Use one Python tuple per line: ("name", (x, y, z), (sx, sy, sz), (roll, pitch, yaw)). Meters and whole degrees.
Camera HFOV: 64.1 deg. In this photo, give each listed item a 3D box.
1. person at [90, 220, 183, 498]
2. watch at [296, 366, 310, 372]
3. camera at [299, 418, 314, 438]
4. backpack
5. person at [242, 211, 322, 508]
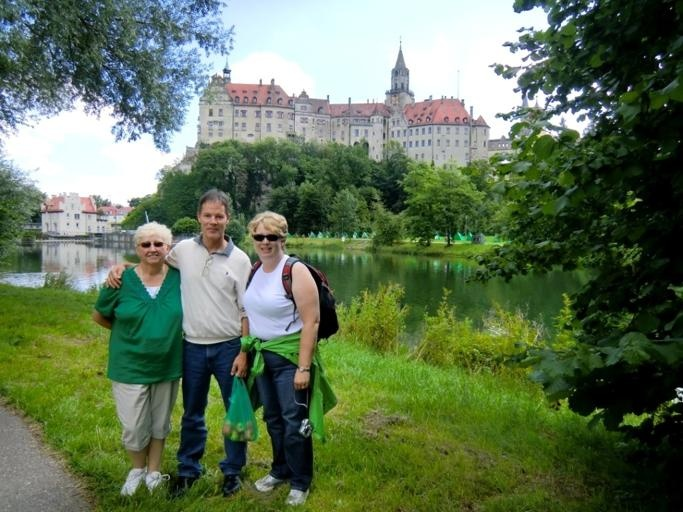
("person", (-1.770, 0.878, 4.886), (0.726, 2.341, 0.675), (-1, 8, -25))
("watch", (-0.326, 0.981, 4.772), (0.052, 0.057, 0.052), (5, -5, 23))
("camera", (-0.310, 1.512, 4.781), (0.117, 0.184, 0.072), (2, 7, -2))
("backpack", (-0.343, 0.388, 5.127), (0.639, 0.659, 0.425), (-8, 6, 8))
("person", (-0.529, 0.882, 4.934), (0.754, 2.547, 0.402), (8, 9, 38))
